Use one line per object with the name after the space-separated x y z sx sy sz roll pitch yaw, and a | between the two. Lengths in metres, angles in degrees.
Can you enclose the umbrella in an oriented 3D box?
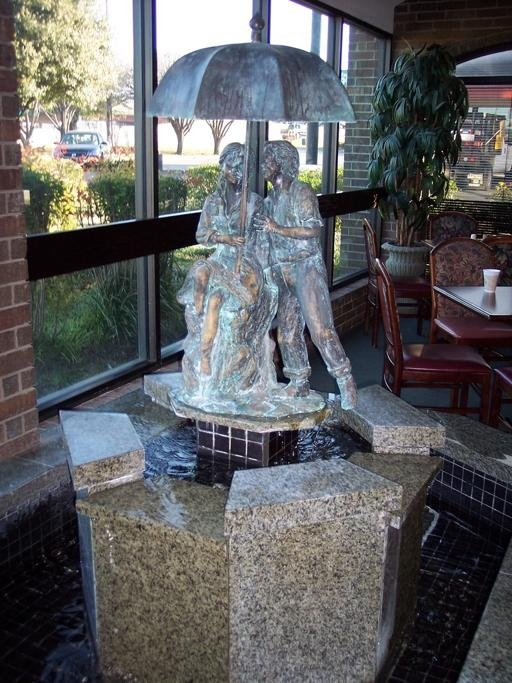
-0.015 -0.400 1.025 0.283 0.408 0.335 5 28 5 | umbrella
